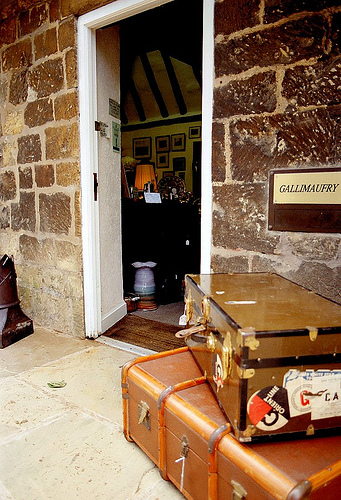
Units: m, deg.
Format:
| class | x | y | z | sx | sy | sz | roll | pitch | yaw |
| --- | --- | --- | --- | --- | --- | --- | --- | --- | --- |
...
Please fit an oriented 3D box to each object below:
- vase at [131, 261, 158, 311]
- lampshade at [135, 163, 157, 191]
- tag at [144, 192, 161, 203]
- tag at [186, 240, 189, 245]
| class | x | y | z | sx | sy | sz | roll | pitch | yaw |
| --- | --- | --- | --- | --- | --- | --- | --- | --- | --- |
| vase | -0.227 | 0.313 | 3.302 | 0.233 | 0.385 | 0.243 | -3 | -2 | 18 |
| lampshade | -0.277 | -0.792 | 4.257 | 0.228 | 0.318 | 0.463 | -1 | 7 | -4 |
| tag | -0.164 | -0.452 | 3.419 | 0.144 | 0.084 | 0.334 | 0 | 7 | -2 |
| tag | 0.155 | -0.069 | 3.775 | 0.030 | 0.055 | 0.033 | 7 | -8 | -39 |
